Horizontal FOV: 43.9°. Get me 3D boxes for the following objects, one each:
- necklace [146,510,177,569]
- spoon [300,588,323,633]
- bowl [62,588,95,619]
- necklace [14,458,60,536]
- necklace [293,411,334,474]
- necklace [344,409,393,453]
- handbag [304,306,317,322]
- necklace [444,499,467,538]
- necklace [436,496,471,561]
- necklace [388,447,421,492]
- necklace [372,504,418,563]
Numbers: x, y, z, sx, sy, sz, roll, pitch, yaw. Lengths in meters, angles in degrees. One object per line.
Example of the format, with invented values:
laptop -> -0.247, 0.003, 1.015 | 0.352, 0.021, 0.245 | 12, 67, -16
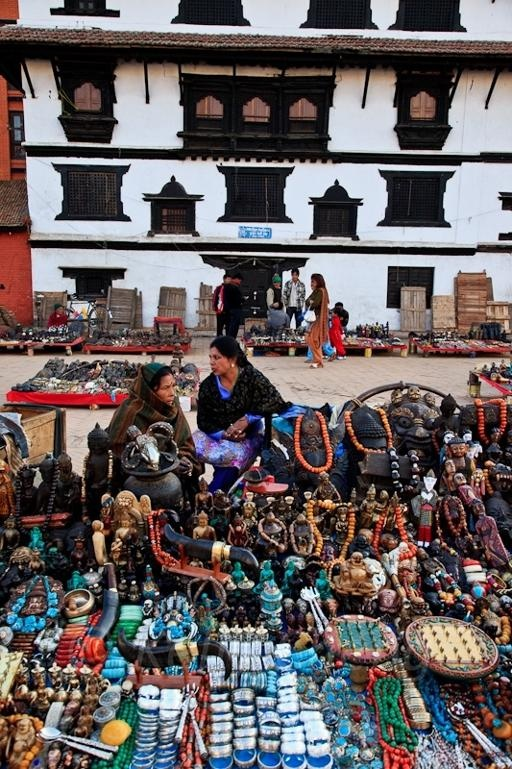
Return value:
necklace -> -0.493, 0.770, 3.209 | 0.078, 0.271, 0.163 | -11, -11, 6
spoon -> 0.273, 1.075, 3.044 | 0.094, 0.183, 0.270 | 2, 1, -4
bowl -> -0.838, 1.038, 3.016 | 0.147, 0.108, 0.098 | 2, 1, -30
necklace -> -1.202, 0.578, 3.478 | 0.235, 0.296, 0.145 | 2, 1, 29
necklace -> 0.341, 0.352, 3.924 | 0.277, 0.354, 0.264 | 2, 1, 14
necklace -> 0.689, 0.279, 3.822 | 0.311, 0.258, 0.291 | 2, 1, 4
handbag -> 0.966, -1.210, 11.265 | 0.092, 0.358, 0.227 | -5, -22, 21
necklace -> 1.143, 0.751, 3.658 | 0.050, 0.220, 0.127 | -13, -1, 22
necklace -> 1.141, 0.829, 3.685 | 0.178, 0.320, 0.103 | -10, -13, 11
necklace -> 0.851, 0.494, 3.686 | 0.180, 0.243, 0.086 | 5, -17, -16
necklace -> 0.757, 0.803, 3.451 | 0.183, 0.296, 0.053 | 9, -43, 1
